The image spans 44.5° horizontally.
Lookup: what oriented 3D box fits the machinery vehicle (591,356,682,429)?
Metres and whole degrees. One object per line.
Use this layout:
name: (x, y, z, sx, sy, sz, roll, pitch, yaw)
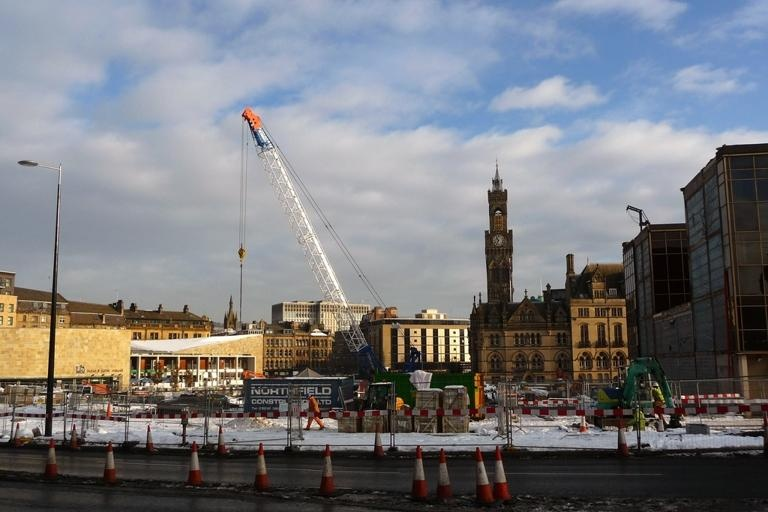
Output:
machinery vehicle: (14.832, 7.978, 54.933, 4.393, 4.183, 8.526, -7, -13, 24)
